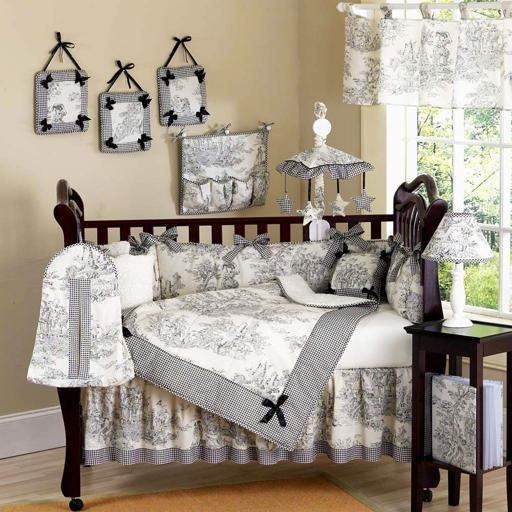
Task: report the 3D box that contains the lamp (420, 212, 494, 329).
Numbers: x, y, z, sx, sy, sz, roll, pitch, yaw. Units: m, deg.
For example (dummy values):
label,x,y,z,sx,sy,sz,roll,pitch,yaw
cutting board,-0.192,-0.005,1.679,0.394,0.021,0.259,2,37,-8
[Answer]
label,x,y,z,sx,sy,sz,roll,pitch,yaw
lamp,0.709,0.048,2.016,0.232,0.399,0.227,-2,1,20
